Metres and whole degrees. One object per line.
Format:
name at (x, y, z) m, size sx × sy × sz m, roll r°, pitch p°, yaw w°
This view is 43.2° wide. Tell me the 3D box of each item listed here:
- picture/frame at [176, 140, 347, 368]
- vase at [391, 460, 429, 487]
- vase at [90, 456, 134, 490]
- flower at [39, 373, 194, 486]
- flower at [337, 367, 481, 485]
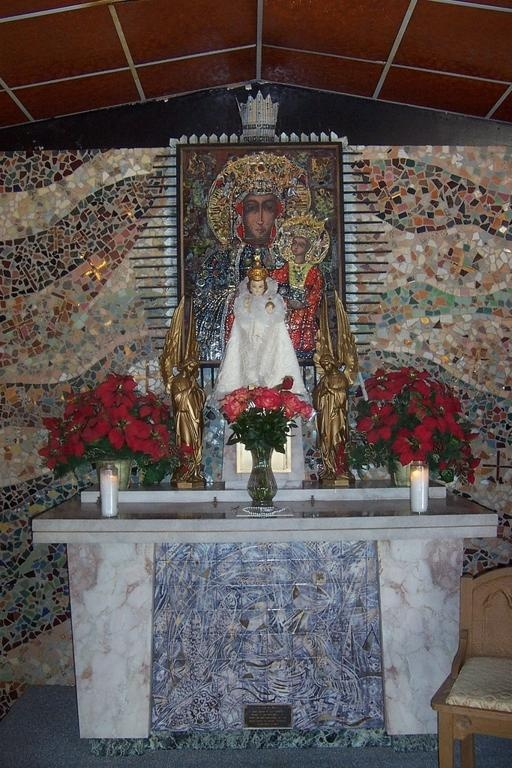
picture/frame at (0.031, -0.532, 2.785) m, size 0.990 × 0.054 × 1.357 m, roll 0°, pitch 89°, yaw 3°
vase at (0.565, 0.330, 2.402) m, size 0.112 × 0.105 × 0.115 m, roll 1°, pitch 95°, yaw 17°
vase at (-0.537, 0.317, 2.386) m, size 0.130 × 0.149 × 0.116 m, roll 0°, pitch 87°, yaw -4°
flower at (-0.491, 0.167, 2.476) m, size 0.468 × 0.472 × 0.391 m, roll 8°, pitch 94°, yaw 28°
flower at (0.582, 0.144, 2.506) m, size 0.462 × 0.472 × 0.440 m, roll 4°, pitch 85°, yaw 27°
